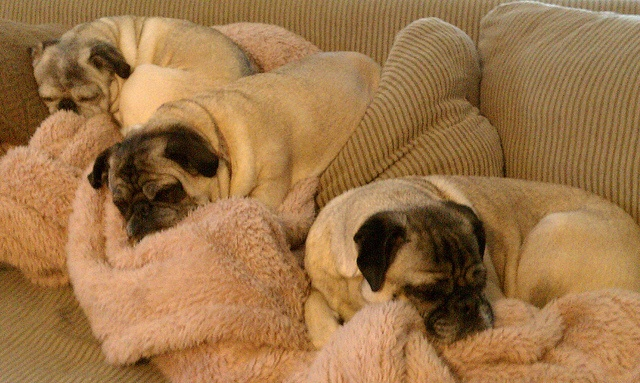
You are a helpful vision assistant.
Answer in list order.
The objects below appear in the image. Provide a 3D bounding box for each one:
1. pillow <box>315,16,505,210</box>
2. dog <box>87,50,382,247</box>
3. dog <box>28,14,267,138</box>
[{"bbox_3d":[0.707,-0.569,5.691,1.006,0.502,1.568,10,75,-4],"label":"pillow"},{"bbox_3d":[-0.587,-0.462,5.854,1.837,0.742,1.137,-37,26,-6],"label":"dog"},{"bbox_3d":[-1.406,-0.938,6.199,1.174,0.505,0.961,-29,24,-24],"label":"dog"}]
